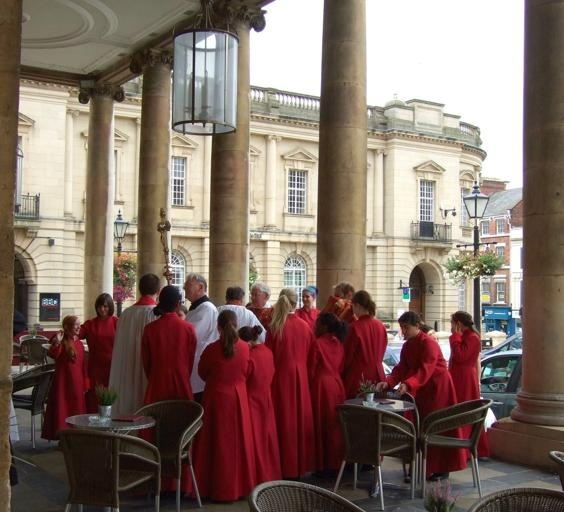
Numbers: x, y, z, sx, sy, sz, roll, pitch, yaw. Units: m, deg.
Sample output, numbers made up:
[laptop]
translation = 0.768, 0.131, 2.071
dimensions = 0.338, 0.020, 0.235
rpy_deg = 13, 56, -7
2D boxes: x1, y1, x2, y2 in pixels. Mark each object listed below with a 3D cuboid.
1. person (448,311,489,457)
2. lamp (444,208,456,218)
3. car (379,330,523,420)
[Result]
[person]
translation = 2.173, 1.519, 11.261
dimensions = 0.511, 1.621, 0.589
rpy_deg = 9, -8, -15
[lamp]
translation = 7.766, -2.014, 42.919
dimensions = 0.558, 0.502, 0.322
rpy_deg = 4, 3, 40
[car]
translation = 2.437, 1.719, 13.298
dimensions = 1.965, 1.049, 1.150
rpy_deg = 2, -3, 13
